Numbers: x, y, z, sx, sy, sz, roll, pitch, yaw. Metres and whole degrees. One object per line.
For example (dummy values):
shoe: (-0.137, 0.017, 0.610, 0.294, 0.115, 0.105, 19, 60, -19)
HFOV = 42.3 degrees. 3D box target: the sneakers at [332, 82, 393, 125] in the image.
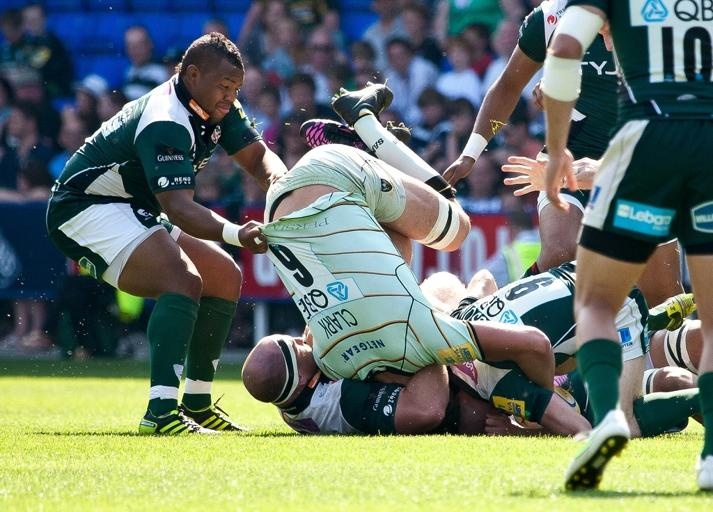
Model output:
sneakers: (0.047, -0.901, 5.497, 0.294, 0.138, 0.293, -34, 61, -30)

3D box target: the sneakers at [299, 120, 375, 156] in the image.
sneakers: (-0.096, -0.679, 5.258, 0.345, 0.123, 0.161, 20, 20, 4)

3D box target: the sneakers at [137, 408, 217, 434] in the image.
sneakers: (-0.930, 0.845, 4.814, 0.407, 0.162, 0.153, 3, -1, -7)

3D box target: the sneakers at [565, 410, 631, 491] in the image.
sneakers: (0.904, 0.746, 3.493, 0.213, 0.316, 0.102, 0, 7, -9)
